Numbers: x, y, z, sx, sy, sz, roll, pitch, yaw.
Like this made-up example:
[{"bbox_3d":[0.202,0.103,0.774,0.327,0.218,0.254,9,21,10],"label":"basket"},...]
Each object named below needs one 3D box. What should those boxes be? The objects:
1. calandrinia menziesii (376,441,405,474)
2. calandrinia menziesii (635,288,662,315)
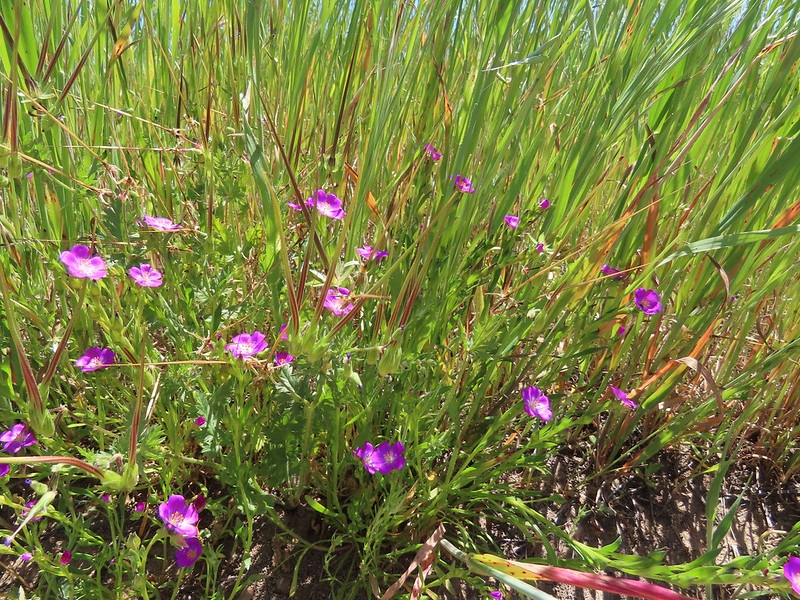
[{"bbox_3d":[-0.027,0.448,1.810,0.082,0.077,0.082,9,48,-5],"label":"calandrinia menziesii"},{"bbox_3d":[0.746,0.012,1.953,0.066,0.032,0.083,15,65,-14],"label":"calandrinia menziesii"}]
